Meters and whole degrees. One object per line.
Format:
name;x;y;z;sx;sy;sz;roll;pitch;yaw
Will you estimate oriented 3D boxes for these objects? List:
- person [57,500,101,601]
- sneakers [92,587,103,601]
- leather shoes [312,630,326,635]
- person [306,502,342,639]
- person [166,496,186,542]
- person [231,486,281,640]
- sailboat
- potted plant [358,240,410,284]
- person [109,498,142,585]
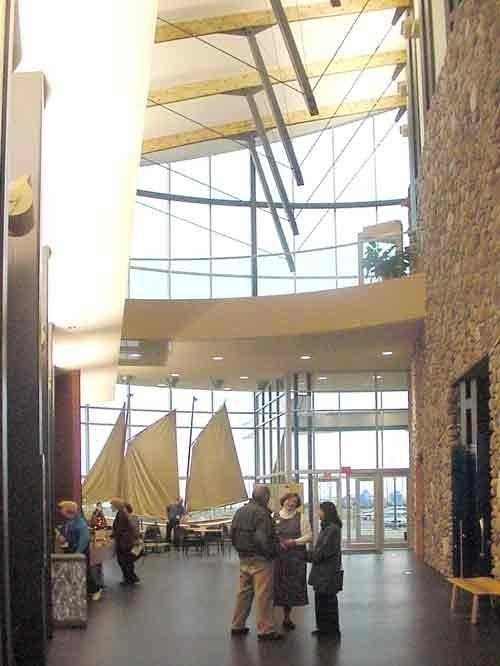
person;-1.726;2.209;9.105;0.438;1.016;2.145;1;-10;-9
sneakers;-1.640;2.778;9.629;0.059;0.095;0.189;2;3;-2
leather shoes;0.547;2.368;7.163;0.101;0.036;0.070;0;-10;-8
person;0.607;1.881;7.253;0.262;1.029;0.371;-1;-8;4
person;-1.397;3.483;16.744;0.257;0.948;0.268;3;13;-2
person;0.030;1.772;7.039;0.361;1.159;0.596;1;-8;-14
sailboat;-1.690;2.583;16.782;2.891;2.738;0.349;2;-6;-16
potted plant;2.079;-1.118;13.922;0.759;0.729;0.594;-2;-8;10
person;-1.488;2.476;10.701;0.306;0.999;0.440;1;-8;-10
